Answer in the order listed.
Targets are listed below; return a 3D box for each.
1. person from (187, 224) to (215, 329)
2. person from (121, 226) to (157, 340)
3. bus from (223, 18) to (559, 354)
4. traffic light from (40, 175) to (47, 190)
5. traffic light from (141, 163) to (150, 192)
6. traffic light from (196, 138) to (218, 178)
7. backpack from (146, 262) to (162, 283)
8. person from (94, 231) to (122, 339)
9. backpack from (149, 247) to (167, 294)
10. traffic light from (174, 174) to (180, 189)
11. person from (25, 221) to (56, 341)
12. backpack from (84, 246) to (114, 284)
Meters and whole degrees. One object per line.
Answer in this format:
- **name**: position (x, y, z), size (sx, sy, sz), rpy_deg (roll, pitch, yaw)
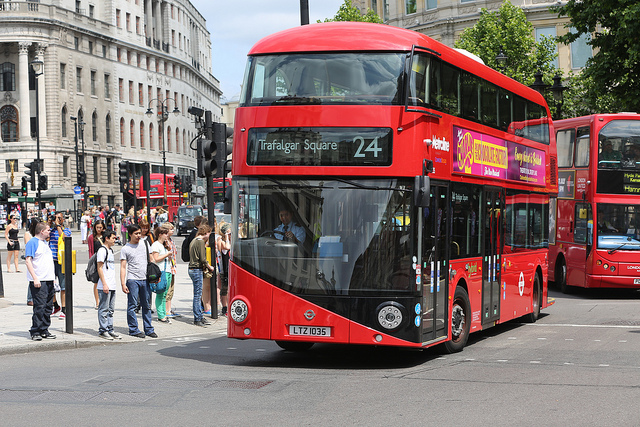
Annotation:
- **person**: position (-2.818, 1.509, 19.525), size (0.607, 2.383, 0.707), rpy_deg (1, 1, -9)
- **person**: position (-3.909, 1.533, 17.637), size (0.567, 2.470, 0.937), rpy_deg (2, 1, 11)
- **bus**: position (1.868, -0.371, 16.013), size (6.996, 6.179, 2.568), rpy_deg (0, 2, -43)
- **traffic light**: position (-14.500, -1.553, 43.025), size (0.307, 0.690, 0.571), rpy_deg (1, 2, -23)
- **traffic light**: position (-6.740, -1.362, 31.714), size (0.231, 1.090, 2.035), rpy_deg (1, 1, -15)
- **traffic light**: position (-2.562, -1.229, 18.750), size (0.403, 0.895, 0.898), rpy_deg (1, 1, -17)
- **backpack**: position (-3.632, 1.314, 17.860), size (0.380, 0.445, 0.258), rpy_deg (1, 2, -31)
- **person**: position (-4.563, 1.548, 17.629), size (0.552, 2.306, 0.901), rpy_deg (1, 2, -16)
- **backpack**: position (-3.681, 1.552, 18.799), size (0.393, 0.766, 0.564), rpy_deg (11, -30, -16)
- **traffic light**: position (-10.087, -2.087, 57.856), size (0.326, 0.927, 1.073), rpy_deg (1, 1, -12)
- **person**: position (-5.844, 1.437, 17.213), size (0.647, 2.439, 0.661), rpy_deg (1, 2, -26)
- **backpack**: position (-4.688, 1.062, 17.508), size (0.317, 0.605, 0.420), rpy_deg (7, 7, -6)
